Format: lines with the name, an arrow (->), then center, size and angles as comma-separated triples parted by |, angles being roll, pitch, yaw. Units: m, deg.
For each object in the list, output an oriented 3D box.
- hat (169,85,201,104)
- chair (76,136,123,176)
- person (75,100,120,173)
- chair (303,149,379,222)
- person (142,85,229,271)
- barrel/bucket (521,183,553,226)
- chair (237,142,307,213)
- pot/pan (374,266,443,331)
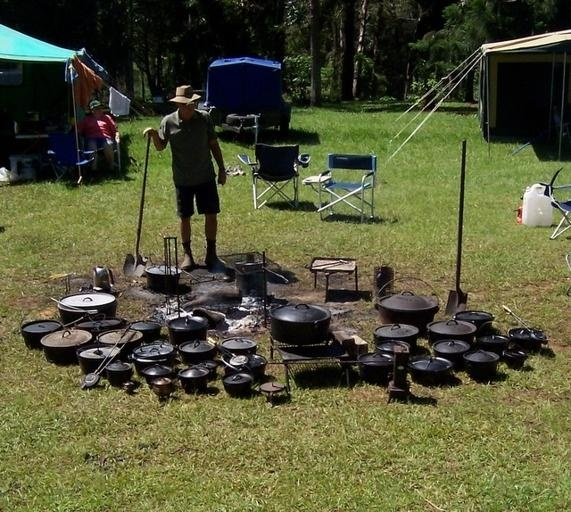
hat -> -1.050, -1.686, 8.687 | 0.275, 0.109, 0.286 | -10, 19, 1
chair -> -3.232, -1.745, 14.424 | 0.570, 0.624, 0.706 | 1, 27, -3
person -> -3.312, -2.128, 14.448 | 0.792, 1.256, 0.692 | -7, 10, -22
chair -> 0.924, -1.163, 12.195 | 0.715, 0.750, 1.211 | 2, 14, -3
person -> -1.031, -0.816, 8.922 | 0.764, 2.009, 0.513 | -2, 9, -8
barrel/bucket -> 3.416, -0.640, 11.081 | 0.402, 0.536, 0.328 | 4, -6, -5
chair -> -0.176, -1.195, 12.289 | 1.075, 0.927, 0.799 | 3, 10, 6
pot/pan -> 1.111, 0.453, 7.490 | 0.553, 0.440, 0.541 | -10, 17, -41
